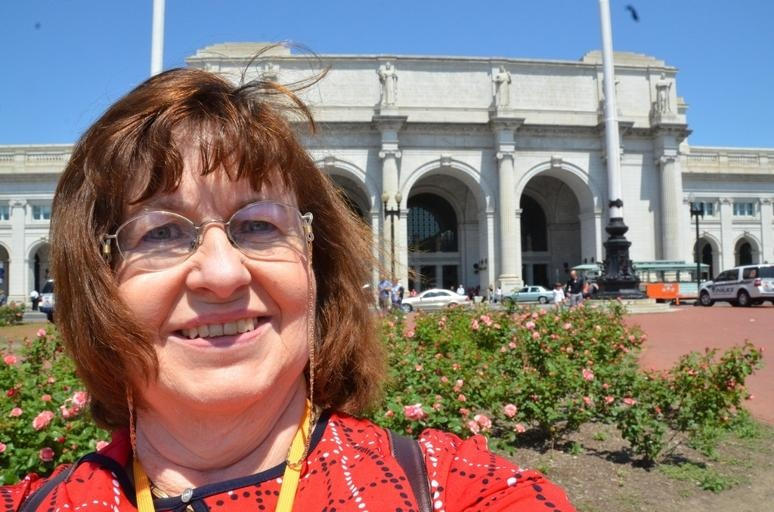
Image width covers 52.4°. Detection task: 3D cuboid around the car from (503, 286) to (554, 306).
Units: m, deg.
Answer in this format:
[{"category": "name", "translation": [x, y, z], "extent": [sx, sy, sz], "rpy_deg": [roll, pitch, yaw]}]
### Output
[{"category": "car", "translation": [6.318, 1.785, 35.235], "extent": [2.343, 0.764, 1.279], "rpy_deg": [2, -4, -2]}]

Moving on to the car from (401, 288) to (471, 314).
[{"category": "car", "translation": [2.151, 1.872, 33.313], "extent": [3.142, 1.031, 1.358], "rpy_deg": [2, -4, 0]}]

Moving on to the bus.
[{"category": "bus", "translation": [10.702, 1.015, 32.606], "extent": [6.273, 1.679, 1.988], "rpy_deg": [-2, 2, -15]}]
